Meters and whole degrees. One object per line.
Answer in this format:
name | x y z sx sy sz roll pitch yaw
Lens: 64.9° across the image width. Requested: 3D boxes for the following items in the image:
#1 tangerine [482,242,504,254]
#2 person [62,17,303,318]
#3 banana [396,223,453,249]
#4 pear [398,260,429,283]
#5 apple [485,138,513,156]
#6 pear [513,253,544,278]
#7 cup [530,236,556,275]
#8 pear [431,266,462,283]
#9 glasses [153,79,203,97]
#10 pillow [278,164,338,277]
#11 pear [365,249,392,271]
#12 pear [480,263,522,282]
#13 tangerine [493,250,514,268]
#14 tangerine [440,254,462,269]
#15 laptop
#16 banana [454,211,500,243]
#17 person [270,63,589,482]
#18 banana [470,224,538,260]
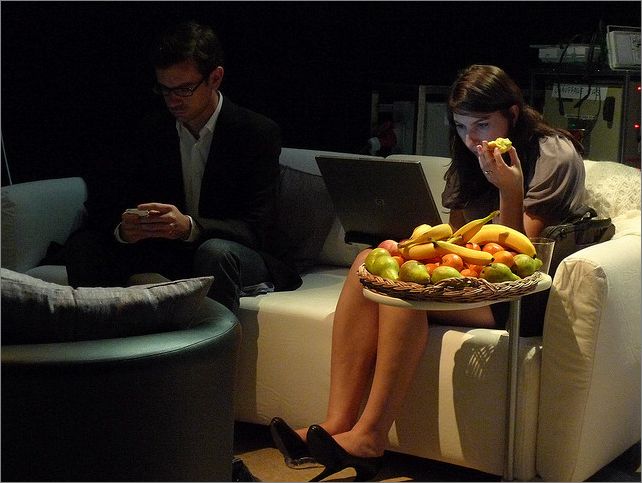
tangerine | 0.465 0.018 1.383 0.032 0.036 0.033 2 -11 10
person | -0.593 -0.194 2.290 0.767 1.521 1.037 4 9 11
banana | 0.297 -0.020 1.417 0.090 0.026 0.091 -28 5 -20
pear | 0.232 0.075 1.288 0.046 0.049 0.061 1 8 -38
apple | 0.568 -0.315 1.636 0.055 0.029 0.075 1 16 34
pear | 0.550 0.051 1.372 0.104 0.072 0.063 -9 13 -44
cup | 0.623 0.039 1.473 0.090 0.106 0.088 0 7 0
pear | 0.305 0.080 1.261 0.054 0.044 0.042 9 -4 15
glasses | -0.603 -0.640 2.124 0.221 0.069 0.065 1 12 16
pillow | -0.082 -0.106 2.413 0.364 0.423 0.120 7 5 7
pear | 0.154 0.037 1.423 0.058 0.078 0.061 18 4 12
pear | 0.459 0.083 1.294 0.082 0.046 0.044 13 -26 -5
tangerine | 0.478 0.043 1.347 0.050 0.046 0.044 7 37 5
tangerine | 0.348 0.048 1.368 0.040 0.042 0.041 7 -25 39
laptop | 0.232 -0.219 1.971 0.421 0.332 0.374 2 11 38
banana | 0.462 -0.037 1.474 0.144 0.052 0.037 -24 -2 -25
person | 0.289 0.139 2.570 1.483 2.116 0.971 1 -2 -12
banana | 0.492 0.001 1.468 0.043 0.097 0.185 23 3 -9
